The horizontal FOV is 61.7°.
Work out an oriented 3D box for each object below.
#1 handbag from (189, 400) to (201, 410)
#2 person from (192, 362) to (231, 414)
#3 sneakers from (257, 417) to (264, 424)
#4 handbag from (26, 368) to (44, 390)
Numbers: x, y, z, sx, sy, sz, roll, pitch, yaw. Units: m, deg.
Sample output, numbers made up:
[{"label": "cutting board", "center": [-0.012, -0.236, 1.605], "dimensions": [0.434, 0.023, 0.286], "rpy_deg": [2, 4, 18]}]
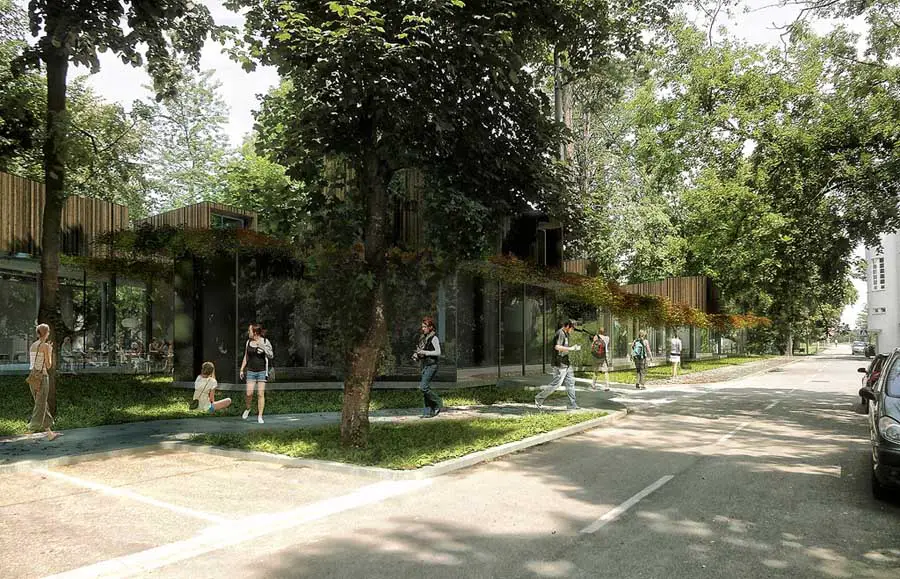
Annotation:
[{"label": "handbag", "center": [-7.343, 3.294, 21.565], "dimensions": [0.201, 0.271, 0.284], "rpy_deg": [4, 5, 36]}, {"label": "person", "center": [-7.021, 2.821, 21.738], "dimensions": [0.796, 1.491, 0.877], "rpy_deg": [-5, 13, -26]}, {"label": "sneakers", "center": [-5.578, 3.831, 22.203], "dimensions": [0.254, 0.236, 0.131], "rpy_deg": [2, -4, -18]}, {"label": "handbag", "center": [-10.958, 2.393, 19.941], "dimensions": [0.398, 0.546, 0.207], "rpy_deg": [0, 12, 0]}]
